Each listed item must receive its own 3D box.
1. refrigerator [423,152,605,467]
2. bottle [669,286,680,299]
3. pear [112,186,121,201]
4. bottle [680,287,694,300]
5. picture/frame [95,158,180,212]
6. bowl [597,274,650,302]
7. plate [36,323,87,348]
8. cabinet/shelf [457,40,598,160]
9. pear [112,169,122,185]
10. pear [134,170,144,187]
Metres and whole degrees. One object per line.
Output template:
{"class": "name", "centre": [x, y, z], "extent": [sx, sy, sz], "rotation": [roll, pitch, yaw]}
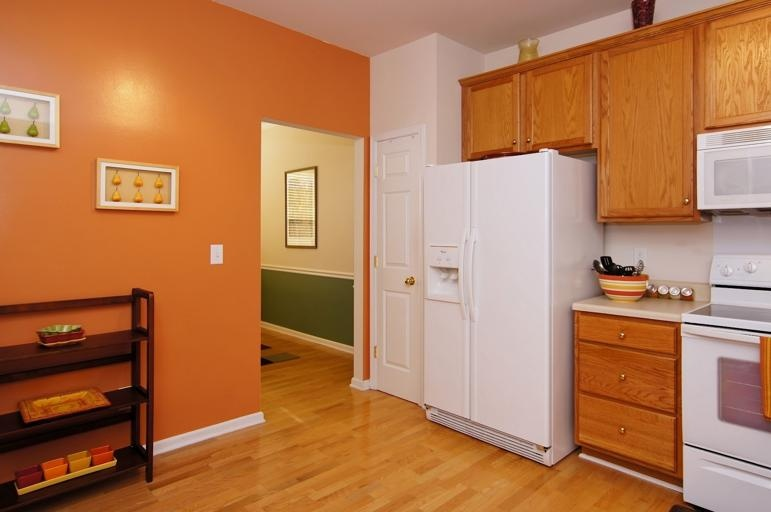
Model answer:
{"class": "refrigerator", "centre": [0.919, 0.320, 4.139], "extent": [1.256, 2.271, 0.748], "rotation": [6, 13, 27]}
{"class": "bottle", "centre": [2.197, 0.278, 4.000], "extent": [0.088, 0.088, 0.081], "rotation": [-1, -1, 14]}
{"class": "pear", "centre": [-1.903, -0.449, 3.788], "extent": [0.065, 0.102, 0.028], "rotation": [-6, 13, -29]}
{"class": "bottle", "centre": [2.262, 0.282, 3.957], "extent": [0.096, 0.085, 0.089], "rotation": [-2, -1, 2]}
{"class": "picture/frame", "centre": [-1.810, -0.528, 3.845], "extent": [0.462, 0.307, 0.017], "rotation": [0, 3, -35]}
{"class": "bowl", "centre": [1.767, 0.229, 3.888], "extent": [0.246, 0.134, 0.242], "rotation": [0, -6, 0]}
{"class": "plate", "centre": [-2.120, 0.524, 3.484], "extent": [0.207, 0.088, 0.161], "rotation": [0, 1, -41]}
{"class": "cabinet/shelf", "centre": [1.194, -1.264, 4.306], "extent": [1.269, 0.768, 0.455], "rotation": [2, 2, 41]}
{"class": "pear", "centre": [-1.901, -0.569, 3.786], "extent": [0.066, 0.113, 0.023], "rotation": [-6, 13, -27]}
{"class": "pear", "centre": [-1.757, -0.572, 3.835], "extent": [0.067, 0.086, 0.023], "rotation": [-2, -1, -35]}
